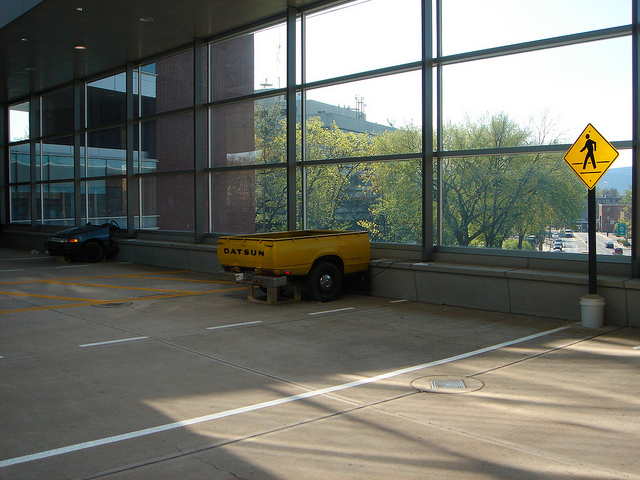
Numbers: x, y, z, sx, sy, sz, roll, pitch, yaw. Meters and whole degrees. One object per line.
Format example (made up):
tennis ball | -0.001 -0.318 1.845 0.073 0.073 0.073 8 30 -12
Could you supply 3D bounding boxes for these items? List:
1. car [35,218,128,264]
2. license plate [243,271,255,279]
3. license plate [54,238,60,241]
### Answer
car | -8.760 0.026 21.258 3.024 1.360 4.054 0 1 35
license plate | -1.542 0.775 11.427 0.235 0.078 0.285 0 2 3
license plate | -9.843 -0.003 19.615 0.280 0.093 0.057 4 9 40
